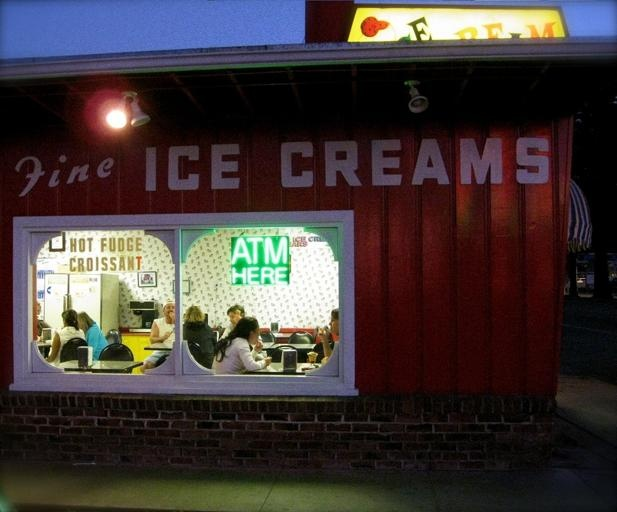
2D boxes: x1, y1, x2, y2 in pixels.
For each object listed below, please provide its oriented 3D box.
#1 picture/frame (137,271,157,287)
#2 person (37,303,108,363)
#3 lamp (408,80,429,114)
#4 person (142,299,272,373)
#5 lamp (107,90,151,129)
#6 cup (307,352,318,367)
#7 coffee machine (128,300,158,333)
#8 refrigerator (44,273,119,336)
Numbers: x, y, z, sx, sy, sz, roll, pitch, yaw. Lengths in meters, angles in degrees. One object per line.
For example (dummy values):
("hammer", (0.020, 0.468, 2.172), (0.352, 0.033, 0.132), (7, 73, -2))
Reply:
("picture/frame", (-3.019, 0.431, 14.144), (0.307, 0.256, 0.032), (2, -6, -10))
("person", (-3.242, 1.112, 10.779), (0.994, 0.974, 0.665), (3, -5, -8))
("lamp", (1.233, -1.795, 8.673), (0.245, 0.324, 0.341), (-2, -4, 8))
("person", (-1.251, 1.069, 9.950), (1.796, 0.818, 0.923), (-4, -4, 37))
("lamp", (-2.106, -1.664, 8.894), (0.448, 0.430, 0.397), (2, -25, -14))
("cup", (0.058, 1.348, 9.997), (0.156, 0.174, 0.156), (-1, -10, 0))
("coffee machine", (-2.864, 1.101, 13.795), (0.619, 0.590, 0.484), (-1, -9, 10))
("refrigerator", (-3.958, 0.690, 13.299), (1.065, 1.776, 1.191), (0, 2, -19))
